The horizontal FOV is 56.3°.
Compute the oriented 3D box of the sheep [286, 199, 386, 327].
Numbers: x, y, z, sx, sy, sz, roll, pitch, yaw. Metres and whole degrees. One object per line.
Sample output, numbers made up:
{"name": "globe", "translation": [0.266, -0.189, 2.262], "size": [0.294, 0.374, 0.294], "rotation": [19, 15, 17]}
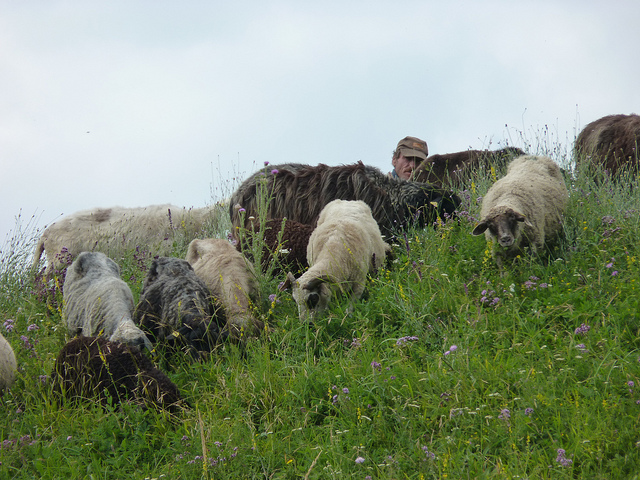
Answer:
{"name": "sheep", "translation": [0.255, 0.203, 6.505], "size": [0.634, 0.943, 1.620], "rotation": [-8, 19, 16]}

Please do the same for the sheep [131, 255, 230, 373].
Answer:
{"name": "sheep", "translation": [-1.541, 0.738, 6.151], "size": [0.511, 0.765, 1.381], "rotation": [1, 24, -25]}

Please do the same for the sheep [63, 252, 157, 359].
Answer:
{"name": "sheep", "translation": [-2.162, 0.633, 5.870], "size": [0.525, 0.969, 1.614], "rotation": [-10, 23, -24]}

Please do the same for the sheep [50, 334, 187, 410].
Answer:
{"name": "sheep", "translation": [-1.767, 1.169, 5.187], "size": [1.146, 0.492, 0.306], "rotation": [-11, -3, 21]}

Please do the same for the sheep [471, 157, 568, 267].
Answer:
{"name": "sheep", "translation": [2.429, -0.387, 7.175], "size": [0.762, 1.015, 1.762], "rotation": [-14, 22, 37]}

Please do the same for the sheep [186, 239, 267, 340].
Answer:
{"name": "sheep", "translation": [-1.114, 0.629, 6.665], "size": [0.676, 1.027, 1.580], "rotation": [2, 14, -29]}

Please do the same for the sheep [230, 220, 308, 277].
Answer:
{"name": "sheep", "translation": [-0.700, 0.085, 7.303], "size": [1.002, 0.655, 0.530], "rotation": [3, 0, 37]}
